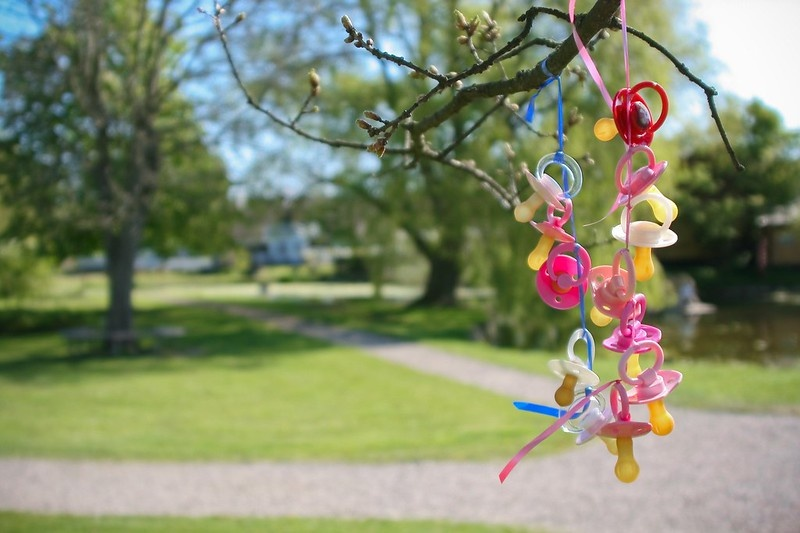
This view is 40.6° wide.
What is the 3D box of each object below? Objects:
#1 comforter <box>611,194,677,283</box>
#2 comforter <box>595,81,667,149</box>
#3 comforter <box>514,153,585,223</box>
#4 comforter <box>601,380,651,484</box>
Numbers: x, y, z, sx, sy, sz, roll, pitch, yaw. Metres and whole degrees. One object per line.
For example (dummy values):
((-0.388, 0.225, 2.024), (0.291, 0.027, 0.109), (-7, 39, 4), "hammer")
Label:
((1.865, -0.192, 8.309), (0.390, 0.786, 0.435), (10, -22, -5), "comforter")
((1.800, -1.176, 8.267), (0.535, 0.439, 0.417), (-26, 14, 35), "comforter")
((1.105, -0.507, 8.292), (0.494, 0.505, 0.377), (43, -2, 12), "comforter")
((1.693, 1.292, 8.240), (0.361, 0.759, 0.389), (2, -18, -14), "comforter")
